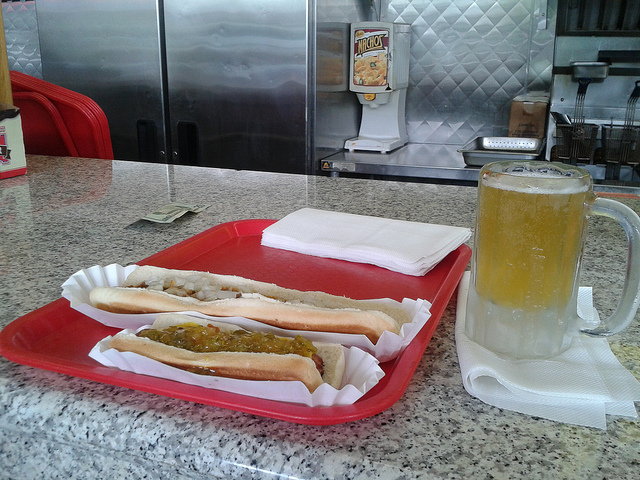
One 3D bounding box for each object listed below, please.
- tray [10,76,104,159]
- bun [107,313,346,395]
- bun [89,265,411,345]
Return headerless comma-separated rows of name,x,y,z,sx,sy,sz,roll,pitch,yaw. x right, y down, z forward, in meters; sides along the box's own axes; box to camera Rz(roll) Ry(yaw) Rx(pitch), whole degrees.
tray,-1.077,-0.510,1.804,0.275,0.300,0.301,-19,31,-36
bun,-0.107,0.110,0.464,0.257,0.036,0.088,9,16,14
bun,-0.110,0.084,0.559,0.426,0.068,0.137,7,14,13
